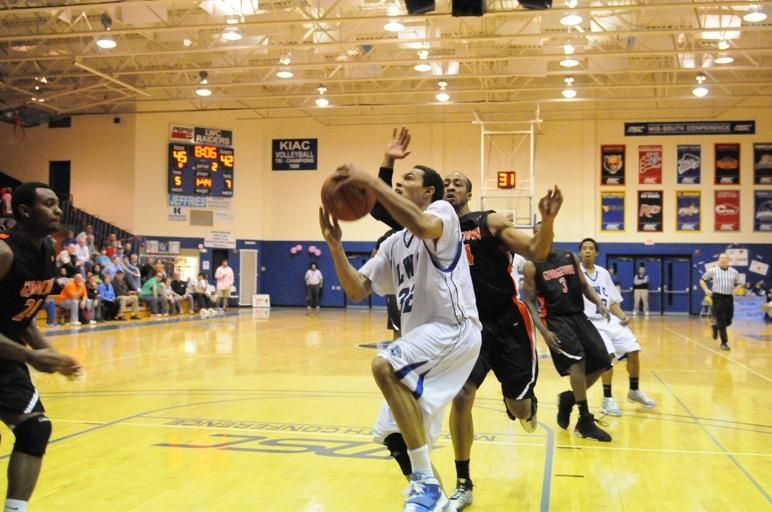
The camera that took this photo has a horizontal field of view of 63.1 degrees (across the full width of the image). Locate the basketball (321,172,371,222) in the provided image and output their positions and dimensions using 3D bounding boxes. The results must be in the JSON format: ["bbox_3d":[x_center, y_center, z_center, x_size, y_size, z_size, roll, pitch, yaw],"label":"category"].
[{"bbox_3d":[-0.285,-0.413,4.727,0.334,0.365,0.357,20,12,24],"label":"basketball"}]

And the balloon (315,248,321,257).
[{"bbox_3d":[-2.614,-0.125,23.634,0.263,0.321,0.267,-20,3,-6],"label":"balloon"}]

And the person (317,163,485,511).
[{"bbox_3d":[0.159,0.584,4.652,1.022,2.483,0.760,0,1,14],"label":"person"}]

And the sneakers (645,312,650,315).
[{"bbox_3d":[8.836,1.974,21.227,0.147,0.172,0.161,-8,-7,37],"label":"sneakers"}]

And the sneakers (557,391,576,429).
[{"bbox_3d":[1.859,1.586,6.579,0.154,0.446,0.194,-15,23,-40],"label":"sneakers"}]

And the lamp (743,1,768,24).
[{"bbox_3d":[7.588,-5.025,12.872,0.364,0.380,1.045,0,2,36],"label":"lamp"}]

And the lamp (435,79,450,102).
[{"bbox_3d":[1.732,-5.118,19.303,0.320,0.702,1.212,-1,1,6],"label":"lamp"}]

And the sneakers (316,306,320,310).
[{"bbox_3d":[-2.563,1.955,23.502,0.071,0.092,0.133,-3,-2,10],"label":"sneakers"}]

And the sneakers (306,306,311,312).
[{"bbox_3d":[-2.872,1.964,23.255,0.117,0.199,0.124,0,-8,-2],"label":"sneakers"}]
